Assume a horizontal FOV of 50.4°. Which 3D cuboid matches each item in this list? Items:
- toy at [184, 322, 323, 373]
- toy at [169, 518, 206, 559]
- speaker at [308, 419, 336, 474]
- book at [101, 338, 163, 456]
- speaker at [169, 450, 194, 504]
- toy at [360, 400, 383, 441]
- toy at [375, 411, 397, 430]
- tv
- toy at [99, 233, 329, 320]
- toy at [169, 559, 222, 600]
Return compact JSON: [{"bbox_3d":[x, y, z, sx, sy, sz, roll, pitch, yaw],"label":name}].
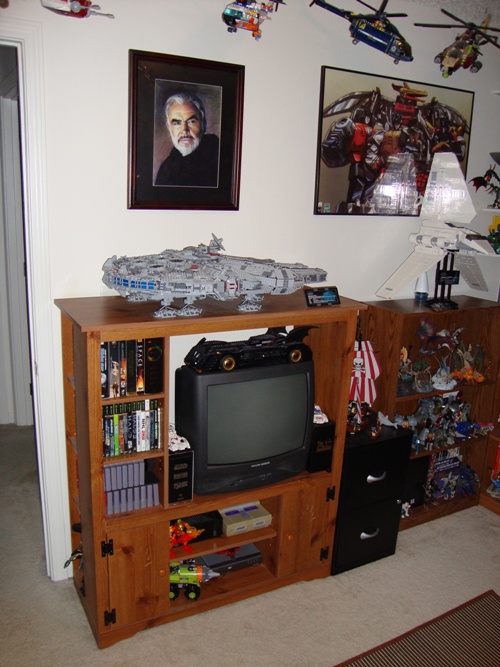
[{"bbox_3d":[-0.007,0.023,1.983,0.370,0.110,0.198,-6,16,-25],"label":"toy"},{"bbox_3d":[-0.264,0.799,2.091,0.166,0.128,0.072,-4,15,-20],"label":"toy"},{"bbox_3d":[0.332,0.518,2.278,0.136,0.133,0.209,-2,47,17],"label":"speaker"},{"bbox_3d":[-0.392,0.220,1.789,0.204,0.410,0.077,1,12,-14],"label":"book"},{"bbox_3d":[-0.271,0.530,1.970,0.108,0.183,0.107,-1,-2,-19],"label":"speaker"},{"bbox_3d":[0.577,0.413,2.531,0.054,0.057,0.232,-5,9,8],"label":"toy"},{"bbox_3d":[0.640,0.421,2.584,0.057,0.069,0.129,5,27,-31],"label":"toy"},{"bbox_3d":[-0.037,0.338,1.985,0.445,0.410,0.267,-8,23,-26],"label":"tv"},{"bbox_3d":[-0.163,-0.206,1.844,0.522,0.168,0.438,-11,26,-31],"label":"toy"},{"bbox_3d":[-0.220,0.988,2.136,0.196,0.103,0.108,2,19,-3],"label":"toy"}]
